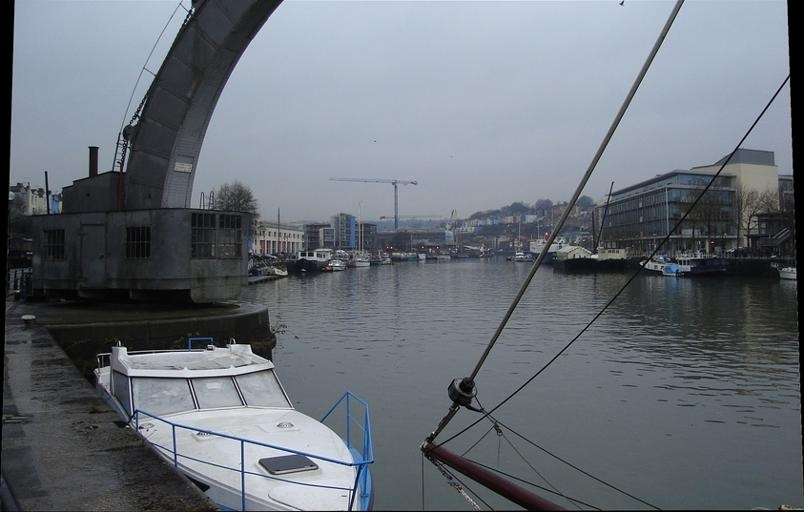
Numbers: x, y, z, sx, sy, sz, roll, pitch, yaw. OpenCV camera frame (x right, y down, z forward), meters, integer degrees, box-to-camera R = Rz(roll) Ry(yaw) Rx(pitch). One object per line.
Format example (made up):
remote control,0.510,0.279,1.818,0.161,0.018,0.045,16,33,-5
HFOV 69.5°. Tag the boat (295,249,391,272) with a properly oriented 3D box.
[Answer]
boat,-12.766,0.808,129.009,11.718,4.083,64.135,-1,0,1
